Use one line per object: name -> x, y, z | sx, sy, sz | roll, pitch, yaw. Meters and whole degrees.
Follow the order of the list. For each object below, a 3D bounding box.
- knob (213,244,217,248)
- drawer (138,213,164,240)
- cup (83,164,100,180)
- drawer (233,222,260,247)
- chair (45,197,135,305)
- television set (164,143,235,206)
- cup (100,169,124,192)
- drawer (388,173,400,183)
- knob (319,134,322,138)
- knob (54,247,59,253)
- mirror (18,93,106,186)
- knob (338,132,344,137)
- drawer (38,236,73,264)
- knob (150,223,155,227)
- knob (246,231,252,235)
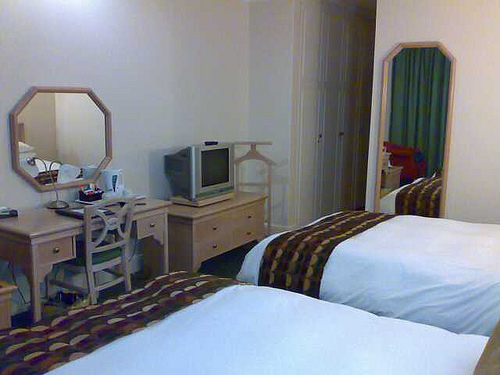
knob -> -0.324, 0.540, 3.658 | 0.025, 0.023, 0.026 | 4, 11, 17
drawer -> -0.848, 0.296, 3.257 | 0.263, 0.165, 0.154 | -11, 13, -43
cup -> -1.321, -0.143, 3.284 | 0.099, 0.120, 0.102 | 2, 3, 0
drawer -> -0.037, 0.466, 4.013 | 0.168, 0.075, 0.319 | 0, 7, 28
chair -> -1.218, 0.471, 3.024 | 0.558, 0.852, 0.581 | 5, 9, 13
television set -> -0.516, -0.155, 3.945 | 0.479, 0.623, 0.647 | 5, 10, 27
cup -> -1.167, -0.064, 3.276 | 0.202, 0.176, 0.151 | 0, 12, -3
drawer -> 1.595, -0.102, 4.337 | 0.134, 0.132, 0.073 | 1, 2, 39
knob -> 0.920, -0.671, 5.086 | 0.029, 0.041, 0.054 | 3, 7, 36
knob -> -1.281, 0.412, 2.599 | 0.020, 0.030, 0.010 | 3, 5, -33
mirror -> -1.500, -0.384, 3.066 | 0.032, 0.709, 0.687 | 5, 8, 31
knob -> 1.288, -0.756, 5.533 | 0.046, 0.041, 0.071 | 4, 9, 36
drawer -> -1.345, 0.413, 2.646 | 0.155, 0.172, 0.275 | -1, 5, 36
knob -> -0.798, 0.302, 3.208 | 0.033, 0.031, 0.020 | -8, 10, -43
knob -> -0.013, 0.464, 4.045 | 0.040, 0.023, 0.057 | 2, 6, 10
